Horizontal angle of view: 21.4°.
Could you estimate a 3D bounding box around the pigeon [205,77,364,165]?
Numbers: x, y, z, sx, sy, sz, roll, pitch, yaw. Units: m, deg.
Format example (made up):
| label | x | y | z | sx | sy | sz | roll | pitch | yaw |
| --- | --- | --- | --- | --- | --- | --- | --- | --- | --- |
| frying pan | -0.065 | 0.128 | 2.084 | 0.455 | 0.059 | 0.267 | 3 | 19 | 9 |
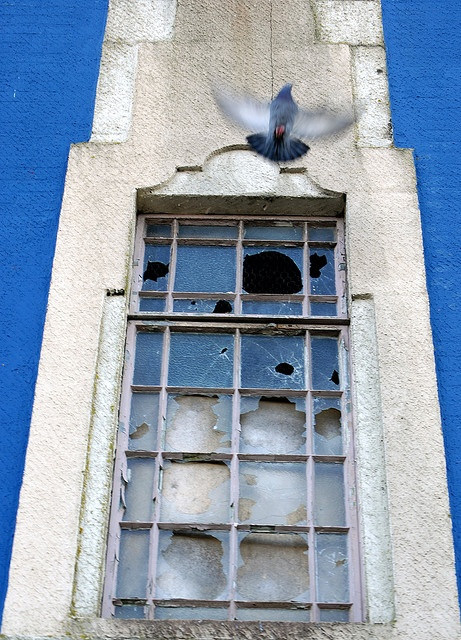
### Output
| label | x | y | z | sx | sy | sz | roll | pitch | yaw |
| --- | --- | --- | --- | --- | --- | --- | --- | --- | --- |
| pigeon | 0.276 | -1.153 | 7.102 | 0.868 | 0.257 | 0.449 | 9 | 53 | 4 |
